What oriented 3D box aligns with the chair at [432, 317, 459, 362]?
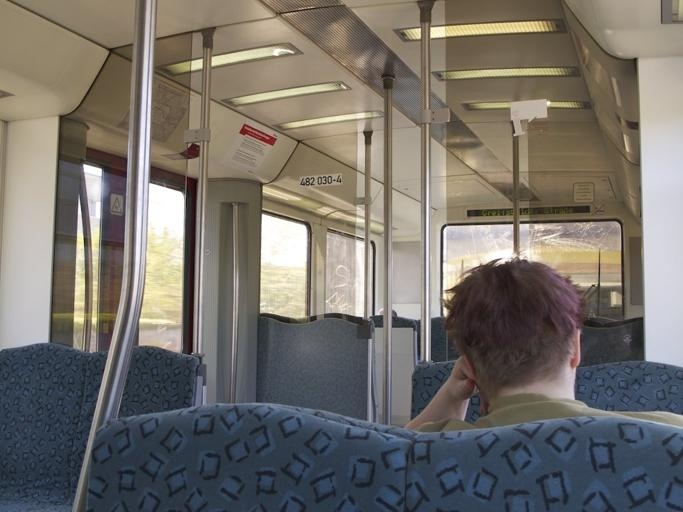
[{"bbox_3d":[0.559,0.501,3.521,0.155,0.248,0.163,-6,-17,29],"label":"chair"}]
